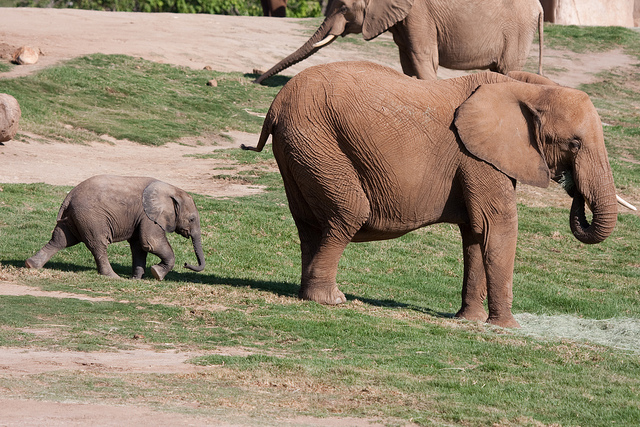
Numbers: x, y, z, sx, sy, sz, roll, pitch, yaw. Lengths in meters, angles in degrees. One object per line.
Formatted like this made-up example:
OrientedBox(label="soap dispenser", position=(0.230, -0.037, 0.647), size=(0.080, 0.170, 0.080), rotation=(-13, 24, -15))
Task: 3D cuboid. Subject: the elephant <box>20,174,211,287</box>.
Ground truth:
OrientedBox(label="elephant", position=(-4.261, 0.267, 28.820), size=(3.809, 2.160, 2.455), rotation=(0, 8, -11))
